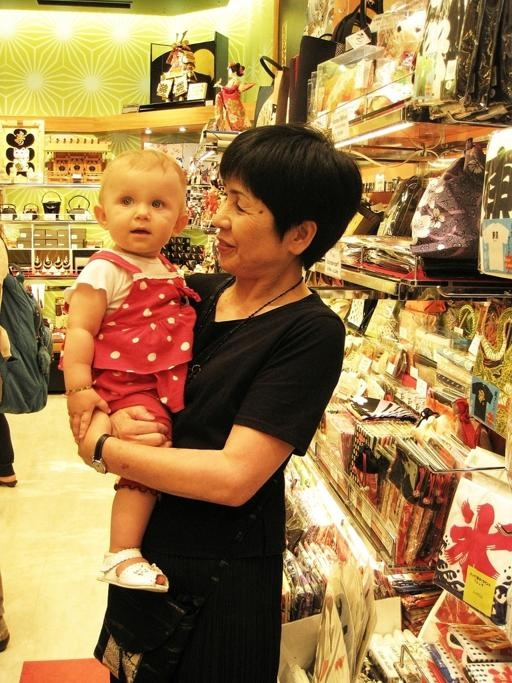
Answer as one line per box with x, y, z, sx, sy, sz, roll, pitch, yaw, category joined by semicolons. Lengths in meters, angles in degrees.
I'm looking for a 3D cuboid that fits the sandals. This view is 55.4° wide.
-0.207;0.384;0.813;0.124;0.054;0.062;3;-8;29;sandals

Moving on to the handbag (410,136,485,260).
0.339;-0.250;0.897;0.108;0.200;0.167;2;0;-4;handbag
